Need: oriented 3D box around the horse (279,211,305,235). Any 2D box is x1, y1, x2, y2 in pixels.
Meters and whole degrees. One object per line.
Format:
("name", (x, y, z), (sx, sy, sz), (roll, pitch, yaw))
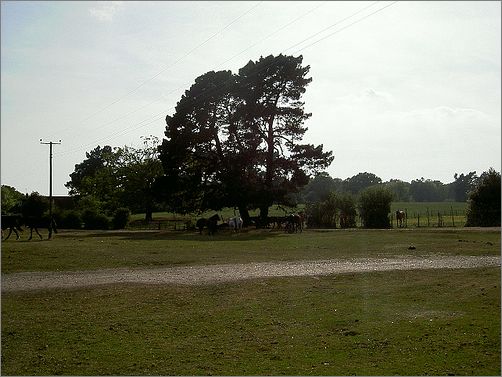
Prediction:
("horse", (3.682, 2.984, 53.642), (1.567, 1.261, 1.701), (-1, 1, -25))
